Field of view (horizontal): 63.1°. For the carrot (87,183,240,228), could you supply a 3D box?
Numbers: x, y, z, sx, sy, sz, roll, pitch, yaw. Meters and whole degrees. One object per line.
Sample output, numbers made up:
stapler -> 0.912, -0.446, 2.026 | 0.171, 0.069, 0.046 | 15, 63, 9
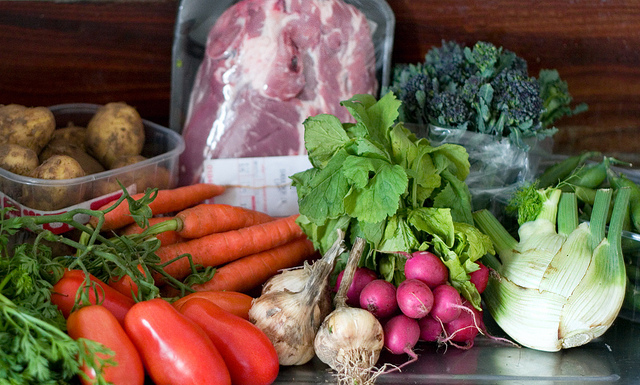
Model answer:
carrot -> -0.495, 0.031, 1.672 | 0.096, 0.107, 0.526 | -1, 11, 43

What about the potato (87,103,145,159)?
potato -> -0.676, -0.233, 1.737 | 0.161, 0.159, 0.202 | 12, 15, -8

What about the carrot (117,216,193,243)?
carrot -> -0.474, 0.095, 1.542 | 0.166, 0.085, 0.140 | -6, 14, -26

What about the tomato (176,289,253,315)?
tomato -> -0.288, 0.322, 1.441 | 0.209, 0.096, 0.095 | -3, 63, -11

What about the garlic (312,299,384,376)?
garlic -> 0.079, 0.375, 1.396 | 0.146, 0.164, 0.157 | -6, 15, -18

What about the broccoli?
broccoli -> 0.523, -0.365, 1.781 | 0.546, 0.288, 0.302 | 5, 20, 8

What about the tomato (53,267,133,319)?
tomato -> -0.572, 0.261, 1.330 | 0.201, 0.094, 0.094 | 27, 40, -4
